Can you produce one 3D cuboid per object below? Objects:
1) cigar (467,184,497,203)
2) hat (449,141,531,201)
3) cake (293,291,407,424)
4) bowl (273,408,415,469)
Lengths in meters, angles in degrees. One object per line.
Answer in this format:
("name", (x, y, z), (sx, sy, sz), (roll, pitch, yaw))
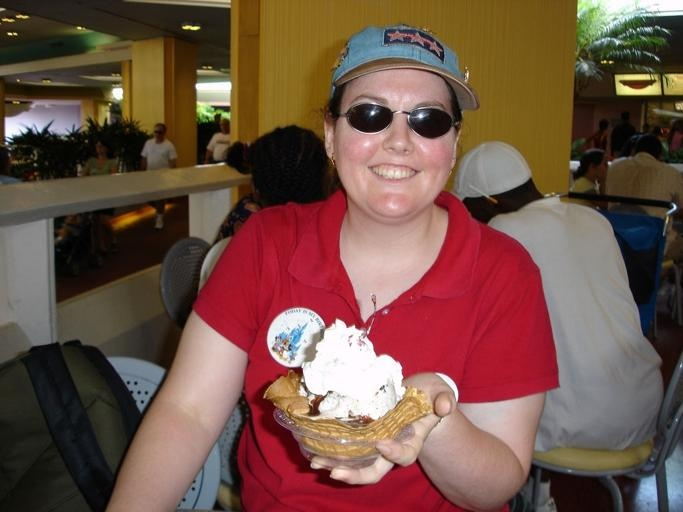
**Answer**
("cigar", (0.830, -0.367, 3.066), (0.131, 0.023, 0.027), (40, -21, 10))
("hat", (0.858, -0.516, 3.066), (0.286, 0.231, 0.382), (-31, 27, -18))
("cake", (0.020, 0.211, 1.216), (0.178, 0.260, 0.233), (0, 11, 11))
("bowl", (0.002, 0.445, 1.258), (0.273, 0.123, 0.302), (-4, -13, 30))
